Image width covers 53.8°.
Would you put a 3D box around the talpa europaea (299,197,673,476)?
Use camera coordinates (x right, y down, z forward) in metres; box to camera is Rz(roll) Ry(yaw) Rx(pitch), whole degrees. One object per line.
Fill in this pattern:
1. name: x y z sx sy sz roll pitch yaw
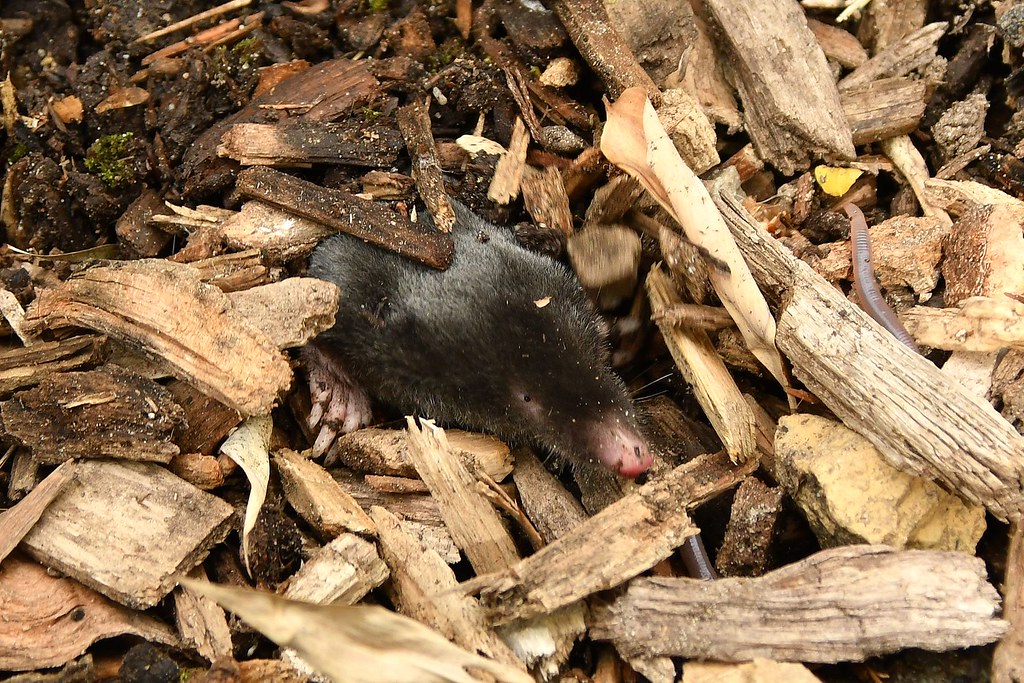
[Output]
1. talpa europaea: -0.150 -0.054 4.719 1.421 1.090 0.782 -1 48 31
